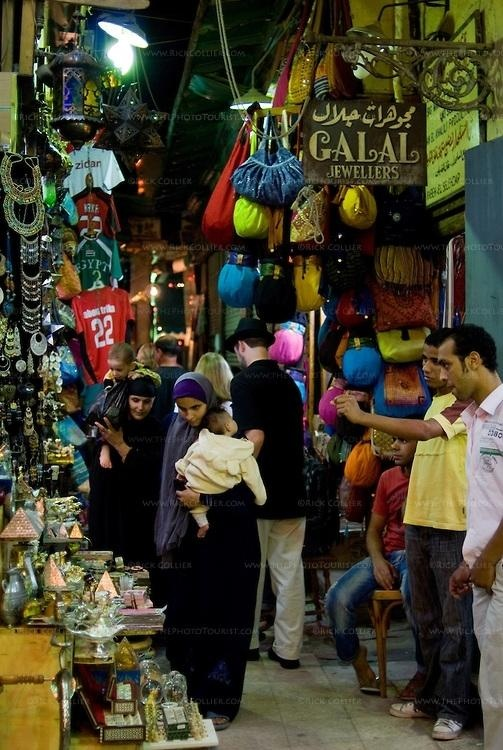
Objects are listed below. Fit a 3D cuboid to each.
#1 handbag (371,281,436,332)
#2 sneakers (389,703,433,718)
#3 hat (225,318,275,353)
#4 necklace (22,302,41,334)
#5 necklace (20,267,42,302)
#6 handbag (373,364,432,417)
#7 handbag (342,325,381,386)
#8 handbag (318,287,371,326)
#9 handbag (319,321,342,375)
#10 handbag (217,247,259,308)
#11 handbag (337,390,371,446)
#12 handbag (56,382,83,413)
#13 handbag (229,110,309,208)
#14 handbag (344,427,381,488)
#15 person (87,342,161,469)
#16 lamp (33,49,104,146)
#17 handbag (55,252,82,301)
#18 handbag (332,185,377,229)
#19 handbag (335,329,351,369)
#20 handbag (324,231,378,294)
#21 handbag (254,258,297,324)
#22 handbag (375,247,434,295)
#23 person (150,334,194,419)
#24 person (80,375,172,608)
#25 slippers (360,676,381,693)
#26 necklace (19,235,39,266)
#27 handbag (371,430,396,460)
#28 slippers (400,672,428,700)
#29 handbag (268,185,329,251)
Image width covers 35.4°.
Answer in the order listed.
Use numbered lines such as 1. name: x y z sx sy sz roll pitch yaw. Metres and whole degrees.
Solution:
1. handbag: 0.944 -0.417 4.913 0.337 0.320 0.120 -7 -8 -11
2. sneakers: 0.754 1.545 3.686 0.179 0.067 0.065 8 0 14
3. hat: -0.037 -0.247 4.732 0.198 0.090 0.223 2 -27 -23
4. necklace: -0.888 -0.233 3.151 0.013 0.148 0.128 11 11 43
5. necklace: -0.882 -0.358 3.136 0.072 0.152 0.076 -1 -6 -17
6. handbag: 0.971 0.053 5.063 0.368 0.162 0.510 -1 38 3
7. handbag: 0.744 -0.080 5.071 0.215 0.360 0.268 -7 -12 13
8. handbag: 0.664 -0.435 5.053 0.217 0.158 0.258 -4 -8 33
9. handbag: 0.547 -0.195 5.533 0.130 0.341 0.192 2 -4 -15
10. handbag: -0.071 -0.649 5.150 0.273 0.375 0.234 6 3 0
11. handbag: 0.692 0.295 5.235 0.272 0.374 0.152 5 -1 44
12. handbag: -1.507 0.188 6.467 0.096 0.243 0.172 -17 -16 31
13. handbag: 0.120 -1.247 4.603 0.386 0.498 0.260 0 15 16
14. handbag: 0.743 0.504 5.123 0.202 0.429 0.184 6 8 -45
15. person: -0.847 0.183 5.378 0.373 0.864 0.255 1 28 -8
16. lamp: -0.972 -1.478 4.169 0.330 0.526 0.268 -3 -5 -1
17. handbag: -1.646 -0.890 7.007 0.223 0.488 0.182 4 26 -1
18. handbag: 0.598 -0.983 4.582 0.219 0.319 0.157 -20 1 -42
19. handbag: 0.621 -0.175 5.364 0.079 0.206 0.156 8 5 8
20. handbag: 0.612 -0.701 4.982 0.320 0.327 0.395 -3 -5 4
21. handbag: 0.146 -0.529 4.951 0.271 0.379 0.233 -3 -5 2
22. handbag: 0.952 -0.675 4.910 0.249 0.142 0.322 1 38 -5
23. person: -0.708 0.072 6.364 0.301 0.823 0.316 13 39 9
24. person: -0.812 0.710 5.053 0.517 1.529 0.445 9 30 0
25. slippers: 0.603 1.580 4.020 0.116 0.041 0.079 3 47 3
26. necklace: -0.880 -0.491 3.101 0.020 0.134 0.117 2 7 42
27. handbag: 0.823 0.439 4.955 0.163 0.201 0.066 10 26 27
28. slippers: 0.835 1.527 3.850 0.208 0.081 0.068 -2 0 -7
29. handbag: 0.307 -0.922 4.637 0.303 0.290 0.381 -20 25 -21
